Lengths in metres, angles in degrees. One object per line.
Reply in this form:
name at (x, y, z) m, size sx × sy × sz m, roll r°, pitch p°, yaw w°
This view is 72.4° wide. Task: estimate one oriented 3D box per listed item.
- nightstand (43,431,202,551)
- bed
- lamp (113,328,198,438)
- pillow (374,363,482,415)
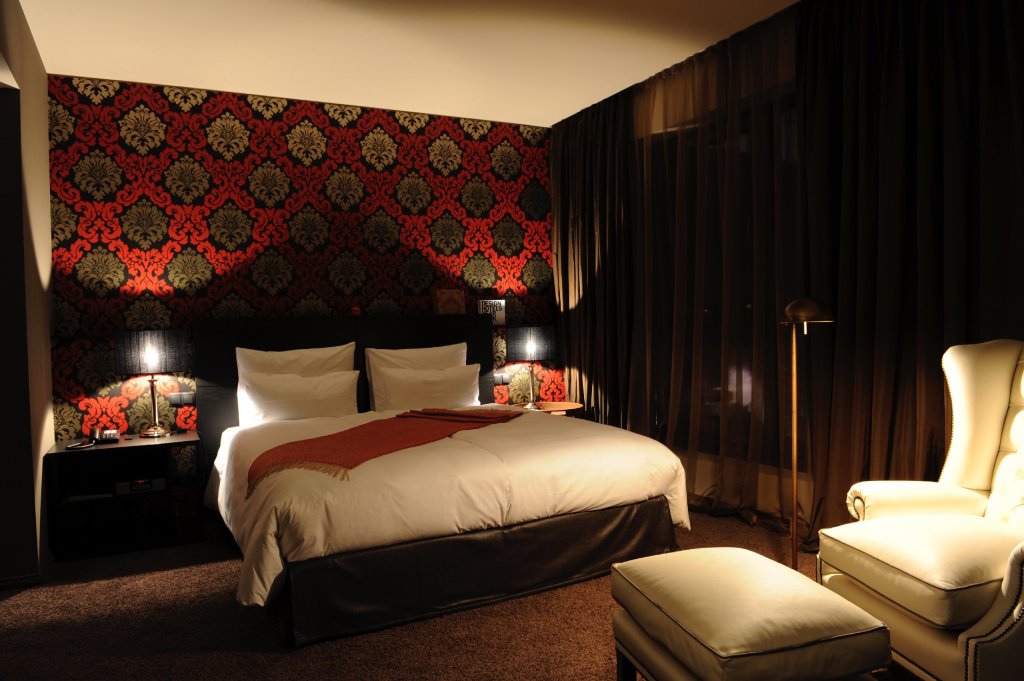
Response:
nightstand at (-3.003, 1.110, 5.640) m, size 1.102 × 0.923 × 1.173 m, roll 0°, pitch 15°, yaw -18°
bed at (-0.842, 1.049, 5.081) m, size 2.545 × 1.430 × 2.451 m, roll 1°, pitch -4°, yaw -28°
lamp at (-2.825, 0.334, 5.528) m, size 0.505 × 0.865 × 0.545 m, roll -4°, pitch 13°, yaw -12°
pillow at (-0.838, 0.338, 6.124) m, size 0.873 × 0.575 × 0.177 m, roll -2°, pitch -10°, yaw -10°
